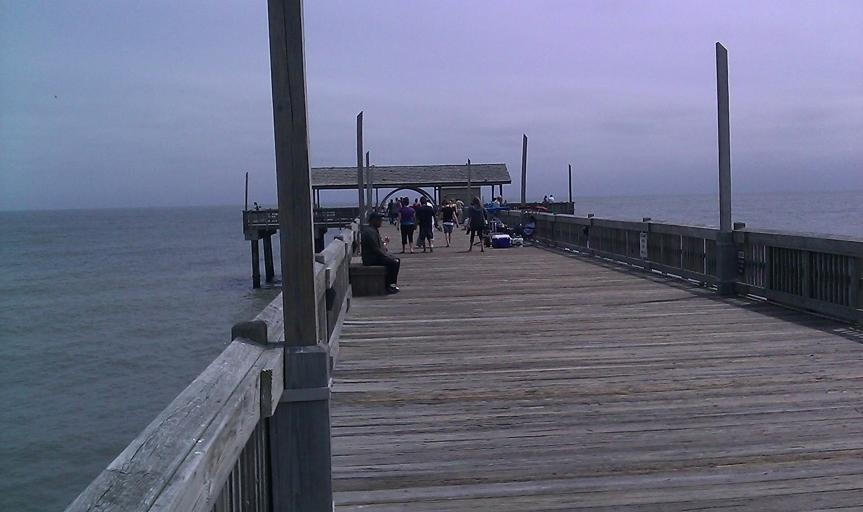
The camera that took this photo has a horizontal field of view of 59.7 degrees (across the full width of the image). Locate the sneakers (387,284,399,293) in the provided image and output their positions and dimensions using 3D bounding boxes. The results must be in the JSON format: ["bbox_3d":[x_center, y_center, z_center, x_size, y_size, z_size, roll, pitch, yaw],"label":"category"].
[{"bbox_3d":[-0.812,0.673,15.472,0.151,0.163,0.379,-2,-3,-2],"label":"sneakers"}]

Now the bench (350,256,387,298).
[{"bbox_3d":[-1.269,0.272,15.821,0.781,0.664,1.393,-1,20,1],"label":"bench"}]

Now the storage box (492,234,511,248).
[{"bbox_3d":[2.268,-0.469,24.784,0.517,0.354,0.442,-1,0,-7],"label":"storage box"}]
